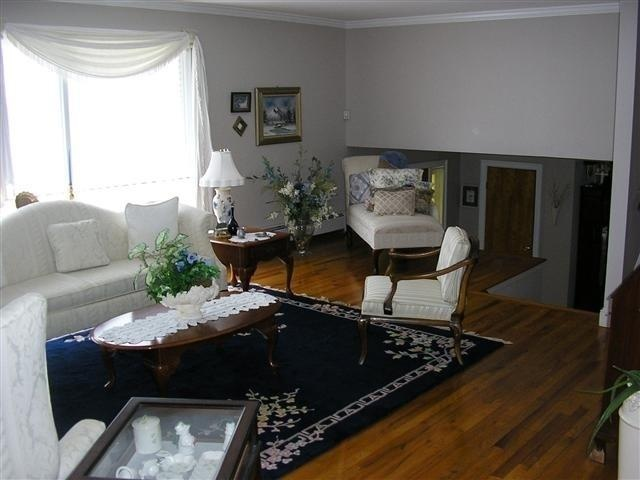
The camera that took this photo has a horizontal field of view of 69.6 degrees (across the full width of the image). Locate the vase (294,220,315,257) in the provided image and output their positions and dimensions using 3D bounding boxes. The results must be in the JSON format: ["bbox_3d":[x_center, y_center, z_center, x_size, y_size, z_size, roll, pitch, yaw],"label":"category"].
[{"bbox_3d":[-0.249,-0.022,6.620,0.307,0.545,0.381,-8,14,-15],"label":"vase"}]

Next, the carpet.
[{"bbox_3d":[-0.278,1.103,3.616,1.911,0.015,1.729,10,17,39],"label":"carpet"}]

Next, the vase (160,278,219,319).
[{"bbox_3d":[-0.995,0.411,3.423,0.292,0.175,0.294,-17,21,-38],"label":"vase"}]

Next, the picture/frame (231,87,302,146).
[{"bbox_3d":[-0.837,-1.814,6.747,0.065,0.617,0.943,8,13,43],"label":"picture/frame"}]

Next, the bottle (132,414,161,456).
[{"bbox_3d":[-0.718,0.824,1.950,0.117,0.135,0.117,-2,6,-15],"label":"bottle"}]

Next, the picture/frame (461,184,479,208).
[{"bbox_3d":[3.174,-0.927,9.674,0.444,0.616,0.059,7,12,44],"label":"picture/frame"}]

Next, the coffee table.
[{"bbox_3d":[-0.969,0.851,3.551,1.360,0.626,0.708,-12,16,-28],"label":"coffee table"}]

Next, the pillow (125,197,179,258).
[{"bbox_3d":[-1.631,-0.100,4.440,0.533,0.534,0.194,-11,1,-26],"label":"pillow"}]

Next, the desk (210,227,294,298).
[{"bbox_3d":[-0.803,0.088,5.232,0.771,0.748,0.785,14,20,42],"label":"desk"}]

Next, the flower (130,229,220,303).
[{"bbox_3d":[-1.256,0.124,3.728,0.559,0.520,1.144,-12,16,-26],"label":"flower"}]

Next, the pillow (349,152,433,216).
[{"bbox_3d":[1.013,-0.858,6.632,1.036,0.972,0.322,-2,-13,-2],"label":"pillow"}]
